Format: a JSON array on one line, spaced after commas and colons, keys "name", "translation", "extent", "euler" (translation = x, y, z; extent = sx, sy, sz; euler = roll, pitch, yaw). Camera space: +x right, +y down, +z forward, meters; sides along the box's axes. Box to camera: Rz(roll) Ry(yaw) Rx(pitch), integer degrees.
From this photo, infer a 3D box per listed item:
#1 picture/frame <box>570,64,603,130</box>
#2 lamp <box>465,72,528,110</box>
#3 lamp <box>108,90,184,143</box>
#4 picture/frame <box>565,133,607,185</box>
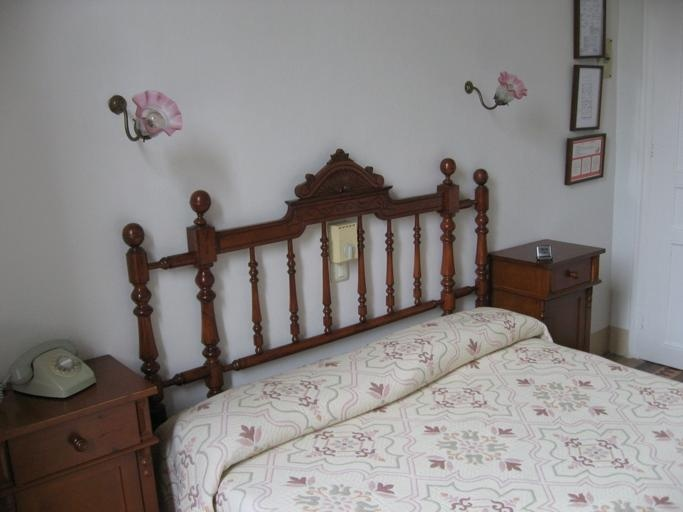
[{"name": "picture/frame", "translation": [1.448, -0.965, 3.399], "extent": [0.038, 0.401, 0.393], "euler": [6, 8, 42]}, {"name": "lamp", "translation": [0.787, -0.841, 2.882], "extent": [0.185, 0.211, 0.314], "euler": [-22, 38, -22]}, {"name": "lamp", "translation": [-0.680, -0.495, 1.971], "extent": [0.212, 0.178, 0.223], "euler": [-10, 13, -22]}, {"name": "picture/frame", "translation": [1.467, -0.601, 3.460], "extent": [0.306, 0.227, 0.030], "euler": [-17, 27, -37]}]
